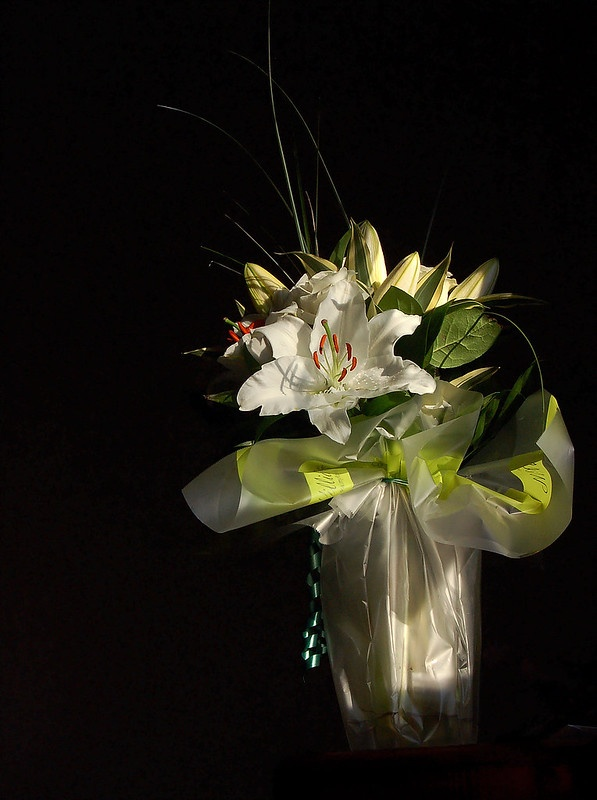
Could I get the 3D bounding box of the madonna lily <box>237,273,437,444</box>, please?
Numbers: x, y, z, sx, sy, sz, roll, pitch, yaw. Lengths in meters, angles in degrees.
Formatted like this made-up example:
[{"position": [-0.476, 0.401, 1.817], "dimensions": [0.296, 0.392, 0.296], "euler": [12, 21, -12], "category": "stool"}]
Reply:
[{"position": [0.036, -0.046, 0.825], "dimensions": [0.205, 0.167, 0.106], "euler": [-2, 9, -6], "category": "madonna lily"}]
